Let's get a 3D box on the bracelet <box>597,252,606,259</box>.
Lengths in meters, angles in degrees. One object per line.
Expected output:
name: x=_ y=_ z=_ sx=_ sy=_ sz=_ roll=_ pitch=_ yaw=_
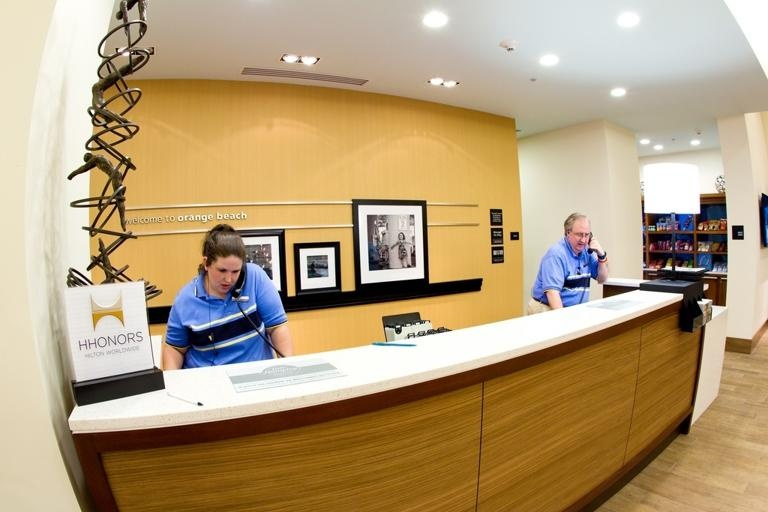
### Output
bracelet: x=2.057 y=-0.007 z=4.941 sx=0.081 sy=0.057 sz=0.106 roll=0 pitch=0 yaw=19

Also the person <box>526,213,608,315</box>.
person: x=1.729 y=0.084 z=4.825 sx=0.886 sy=0.924 sz=0.474 roll=-9 pitch=16 yaw=-30

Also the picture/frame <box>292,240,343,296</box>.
picture/frame: x=-0.745 y=0.129 z=5.652 sx=0.569 sy=0.607 sz=0.048 roll=-3 pitch=0 yaw=-31

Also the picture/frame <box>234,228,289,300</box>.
picture/frame: x=-1.053 y=0.035 z=4.476 sx=0.679 sy=0.753 sz=0.053 roll=-2 pitch=3 yaw=-1

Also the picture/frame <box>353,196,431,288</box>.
picture/frame: x=0.046 y=-0.162 z=6.094 sx=1.020 sy=1.045 sz=0.041 roll=-4 pitch=2 yaw=-37

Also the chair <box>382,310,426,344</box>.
chair: x=0.148 y=0.559 z=4.164 sx=0.281 sy=0.146 sz=0.456 roll=6 pitch=16 yaw=27

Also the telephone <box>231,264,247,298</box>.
telephone: x=-0.918 y=0.161 z=3.338 sx=0.053 sy=0.165 sz=0.128 roll=21 pitch=12 yaw=17

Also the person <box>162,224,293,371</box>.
person: x=-0.997 y=0.443 z=3.383 sx=0.758 sy=1.244 sz=0.625 roll=-5 pitch=14 yaw=-26
